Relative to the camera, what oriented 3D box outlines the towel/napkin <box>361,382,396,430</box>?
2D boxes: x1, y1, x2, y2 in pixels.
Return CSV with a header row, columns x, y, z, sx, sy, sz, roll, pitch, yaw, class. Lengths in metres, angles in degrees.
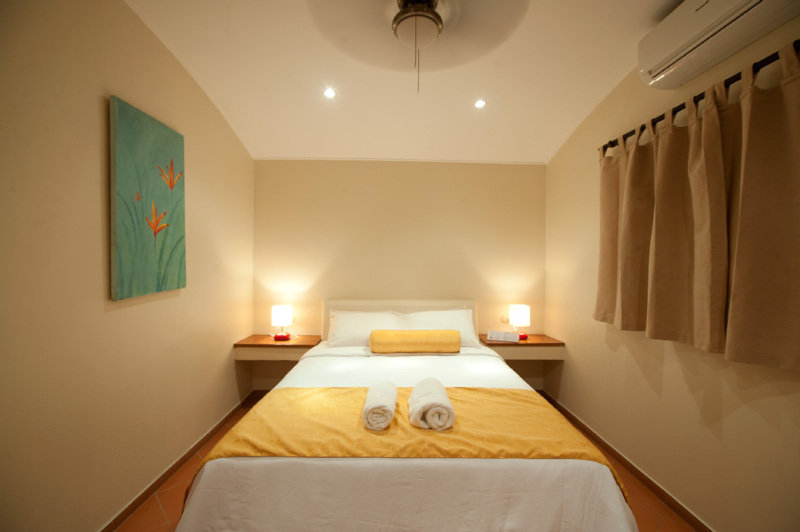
x,y,z,sx,sy,sz,roll,pitch,yaw,class
-0.147,0.881,3.361,0.182,0.145,0.358,-3,2,5,towel/napkin
